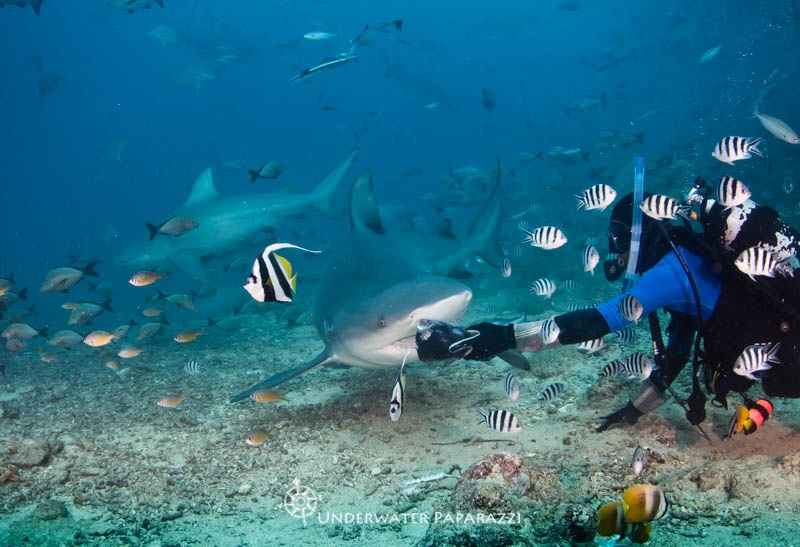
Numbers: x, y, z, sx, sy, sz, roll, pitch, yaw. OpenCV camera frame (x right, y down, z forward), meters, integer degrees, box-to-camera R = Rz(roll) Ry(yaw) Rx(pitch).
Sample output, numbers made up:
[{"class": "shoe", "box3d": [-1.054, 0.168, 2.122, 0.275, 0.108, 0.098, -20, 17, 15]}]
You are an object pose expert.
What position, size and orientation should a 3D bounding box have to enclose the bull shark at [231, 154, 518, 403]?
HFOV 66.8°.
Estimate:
[{"class": "bull shark", "box3d": [0.154, 0.360, 13.180, 3.551, 3.032, 6.185, -2, -3, 3]}]
